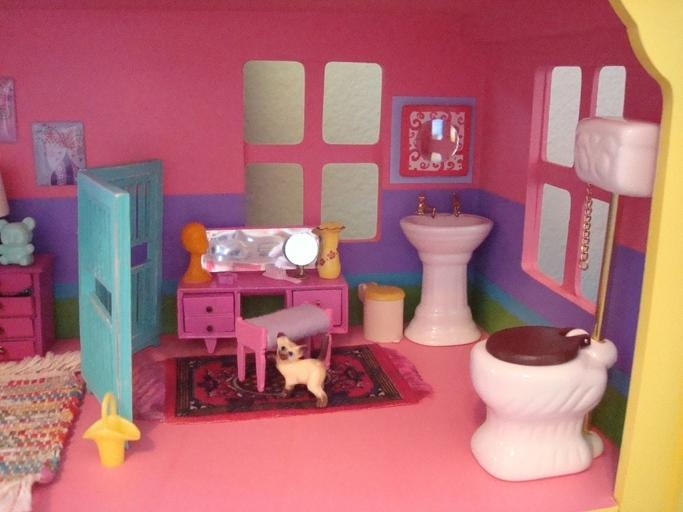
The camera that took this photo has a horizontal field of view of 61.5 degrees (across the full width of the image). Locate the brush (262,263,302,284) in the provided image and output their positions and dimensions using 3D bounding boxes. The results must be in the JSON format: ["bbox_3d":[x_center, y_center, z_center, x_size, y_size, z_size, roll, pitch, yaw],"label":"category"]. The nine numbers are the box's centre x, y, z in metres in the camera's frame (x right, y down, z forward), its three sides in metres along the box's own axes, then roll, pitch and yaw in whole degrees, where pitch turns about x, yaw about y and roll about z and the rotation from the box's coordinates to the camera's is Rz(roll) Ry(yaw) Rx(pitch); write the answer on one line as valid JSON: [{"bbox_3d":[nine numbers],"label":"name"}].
[{"bbox_3d":[-0.579,0.159,5.306,0.428,0.150,0.145,9,17,26],"label":"brush"}]

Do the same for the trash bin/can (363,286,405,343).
[{"bbox_3d":[0.386,0.543,5.689,0.416,0.490,0.534,-5,13,-24],"label":"trash bin/can"}]
